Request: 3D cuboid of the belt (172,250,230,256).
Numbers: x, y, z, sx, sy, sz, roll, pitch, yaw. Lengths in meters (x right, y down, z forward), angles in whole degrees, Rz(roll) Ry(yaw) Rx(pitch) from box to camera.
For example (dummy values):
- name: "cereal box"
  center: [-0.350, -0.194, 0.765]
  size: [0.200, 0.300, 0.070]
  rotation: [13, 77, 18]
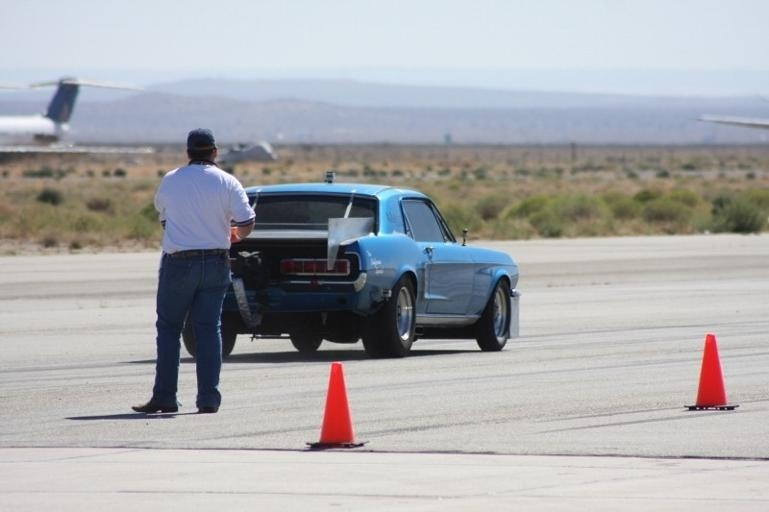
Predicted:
- name: "belt"
  center: [-1.863, -0.019, 12.436]
  size: [0.583, 0.062, 0.121]
  rotation: [-1, 0, -20]

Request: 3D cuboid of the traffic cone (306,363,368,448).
- name: "traffic cone"
  center: [-0.449, 1.399, 11.452]
  size: [0.543, 0.798, 0.356]
  rotation: [-1, 0, -1]

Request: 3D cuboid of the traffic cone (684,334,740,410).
- name: "traffic cone"
  center: [3.362, 1.214, 12.671]
  size: [0.491, 0.790, 0.340]
  rotation: [-1, 0, 13]

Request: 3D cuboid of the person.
- name: "person"
  center: [-1.919, 0.156, 12.497]
  size: [1.049, 2.890, 0.400]
  rotation: [-1, 0, -13]
